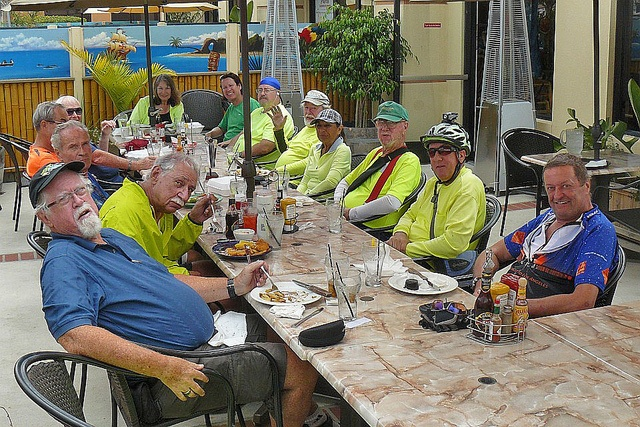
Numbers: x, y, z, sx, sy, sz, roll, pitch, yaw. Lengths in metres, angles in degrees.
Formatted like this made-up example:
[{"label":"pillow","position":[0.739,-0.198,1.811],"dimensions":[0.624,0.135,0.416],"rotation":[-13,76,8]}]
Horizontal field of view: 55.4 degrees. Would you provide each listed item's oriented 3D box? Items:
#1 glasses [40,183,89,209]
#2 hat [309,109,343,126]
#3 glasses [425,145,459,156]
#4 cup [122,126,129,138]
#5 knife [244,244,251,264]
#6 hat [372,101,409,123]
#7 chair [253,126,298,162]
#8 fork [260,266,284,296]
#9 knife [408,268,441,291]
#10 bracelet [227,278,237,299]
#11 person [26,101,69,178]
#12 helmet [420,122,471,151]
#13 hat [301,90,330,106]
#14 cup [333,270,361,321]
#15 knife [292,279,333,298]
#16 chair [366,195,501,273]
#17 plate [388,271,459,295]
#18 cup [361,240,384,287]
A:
[{"label":"glasses","position":[-1.370,-0.070,3.313],"dimensions":[0.179,0.049,0.134],"rotation":[-24,9,33]},{"label":"hat","position":[0.107,-0.958,5.907],"dimensions":[0.230,0.121,0.166],"rotation":[19,-18,-39]},{"label":"glasses","position":[0.903,-0.464,4.535],"dimensions":[0.226,0.080,0.096],"rotation":[2,13,21]},{"label":"cup","position":[-2.479,-1.070,7.873],"dimensions":[0.111,0.122,0.110],"rotation":[3,4,0]},{"label":"knife","position":[-0.462,0.266,3.937],"dimensions":[0.024,0.162,0.019],"rotation":[-10,30,-10]},{"label":"hat","position":[0.667,-0.896,5.435],"dimensions":[0.187,0.117,0.270],"rotation":[4,5,33]},{"label":"chair","position":[-0.502,-0.784,7.267],"dimensions":[0.447,0.360,0.385],"rotation":[-7,23,-13]},{"label":"fork","position":[-0.288,0.411,3.650],"dimensions":[0.024,0.033,0.206],"rotation":[-7,50,-42]},{"label":"knife","position":[0.617,0.386,3.627],"dimensions":[0.057,0.028,0.348],"rotation":[-8,22,-20]},{"label":"bracelet","position":[-0.523,0.453,3.687],"dimensions":[0.071,0.108,0.107],"rotation":[-2,44,2]},{"label":"person","position":[-2.620,-0.695,5.914],"dimensions":[0.392,0.742,0.777],"rotation":[-1,8,-8]},{"label":"helmet","position":[0.943,-0.575,4.548],"dimensions":[0.312,0.130,0.211],"rotation":[9,-6,-32]},{"label":"hat","position":[-0.010,-1.247,6.623],"dimensions":[0.165,0.091,0.241],"rotation":[11,6,40]},{"label":"cup","position":[0.153,0.429,3.321],"dimensions":[0.131,0.269,0.191],"rotation":[-3,12,2]},{"label":"knife","position":[-0.043,0.442,3.560],"dimensions":[0.255,0.028,0.038],"rotation":[19,45,39]},{"label":"chair","position":[0.903,0.103,4.730],"dimensions":[0.658,0.834,0.559],"rotation":[3,17,-24]},{"label":"plate","position":[0.605,0.415,3.608],"dimensions":[0.398,0.080,0.254],"rotation":[-2,12,6]},{"label":"cup","position":[0.332,0.280,3.746],"dimensions":[0.132,0.259,0.304],"rotation":[-2,12,6]}]
